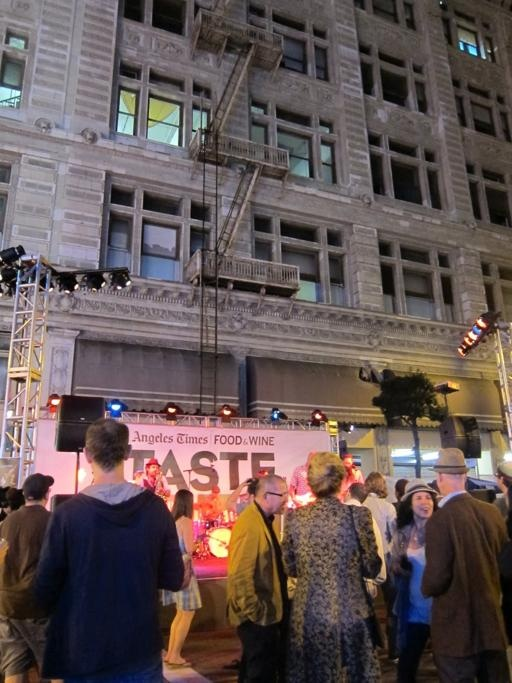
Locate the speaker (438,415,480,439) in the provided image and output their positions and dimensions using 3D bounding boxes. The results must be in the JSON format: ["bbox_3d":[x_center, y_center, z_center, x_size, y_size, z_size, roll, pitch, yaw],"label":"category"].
[{"bbox_3d":[3.461,1.460,9.237,0.505,0.381,0.526,4,-6,-16],"label":"speaker"}]

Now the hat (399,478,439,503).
[{"bbox_3d":[1.347,1.256,4.598,0.308,0.134,0.348,-10,-24,-10],"label":"hat"}]

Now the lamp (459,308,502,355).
[{"bbox_3d":[8.082,-0.295,19.795,0.743,0.534,2.020,3,-52,-54],"label":"lamp"}]
